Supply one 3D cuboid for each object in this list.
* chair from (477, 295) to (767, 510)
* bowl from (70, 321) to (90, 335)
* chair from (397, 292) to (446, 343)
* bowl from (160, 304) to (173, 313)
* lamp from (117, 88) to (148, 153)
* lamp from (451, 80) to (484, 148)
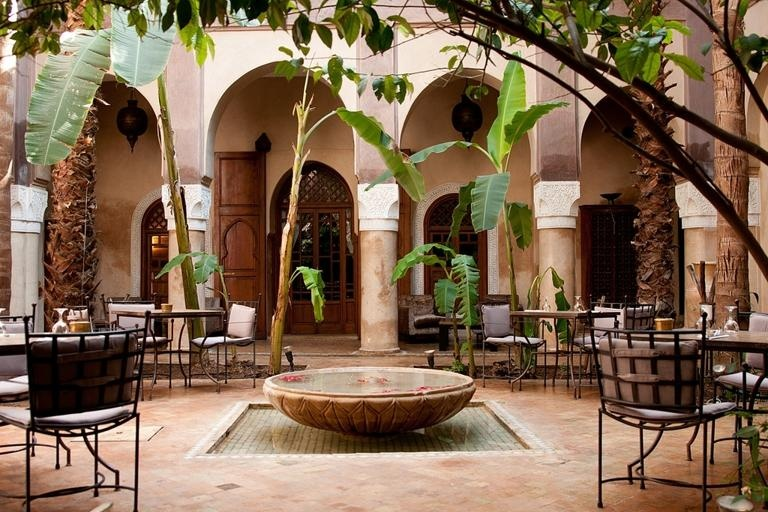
[{"bbox_3d":[1.775,1.089,5.163,1.270,2.086,1.388,1,2,36],"label":"chair"},{"bbox_3d":[-2.561,0.597,5.459,0.185,0.110,0.182,1,-1,0],"label":"bowl"},{"bbox_3d":[0.766,1.192,12.630,0.868,0.826,0.878,-1,-1,-17],"label":"chair"},{"bbox_3d":[-2.770,0.661,8.223,0.157,0.104,0.156,2,-3,0],"label":"bowl"},{"bbox_3d":[-4.967,-2.793,12.805,0.547,1.367,0.537,3,9,2],"label":"lamp"},{"bbox_3d":[1.632,-2.665,12.495,0.534,0.973,0.955,-2,-7,10],"label":"lamp"}]
